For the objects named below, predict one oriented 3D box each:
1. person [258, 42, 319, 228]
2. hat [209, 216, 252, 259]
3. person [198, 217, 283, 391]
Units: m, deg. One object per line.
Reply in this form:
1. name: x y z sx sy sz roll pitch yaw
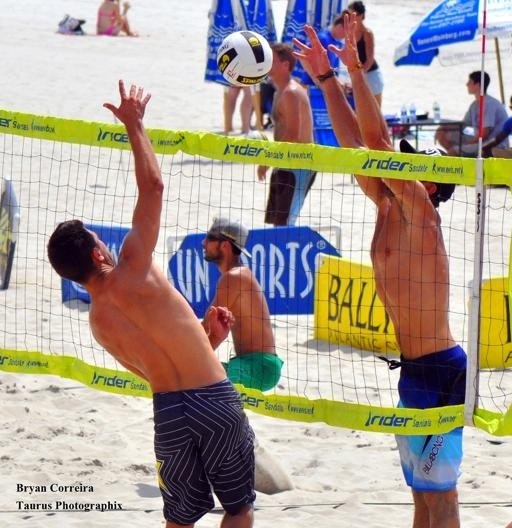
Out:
1. person: 0.274 -1.011 7.832 0.413 1.628 0.453 -8 20 -35
2. hat: -0.145 -0.171 5.721 0.158 0.260 0.228 1 11 -25
3. person: -0.078 0.265 5.683 0.389 1.069 0.525 9 15 18
